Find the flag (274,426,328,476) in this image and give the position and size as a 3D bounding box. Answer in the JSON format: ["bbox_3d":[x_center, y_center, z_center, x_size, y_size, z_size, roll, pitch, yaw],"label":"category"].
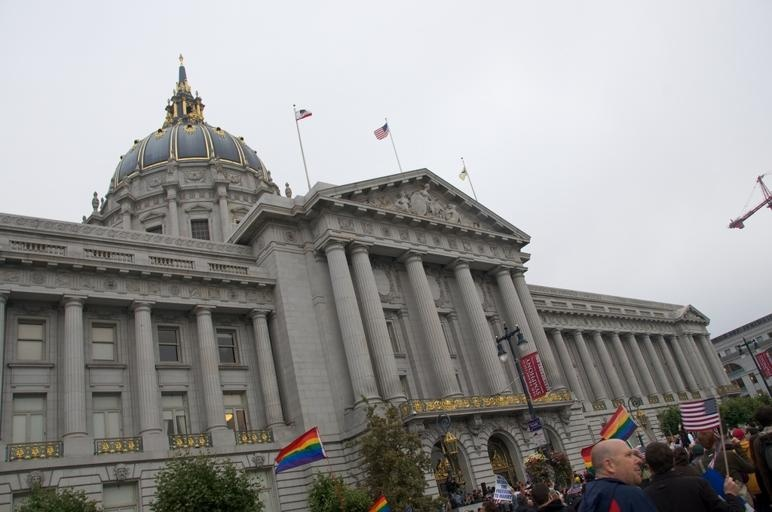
[{"bbox_3d":[-3.174,7.036,18.508,1.506,1.283,2.954,-4,-26,-16],"label":"flag"}]

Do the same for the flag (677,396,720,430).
[{"bbox_3d":[7.464,3.799,12.046,1.066,0.723,0.078,-2,-11,-13],"label":"flag"}]
